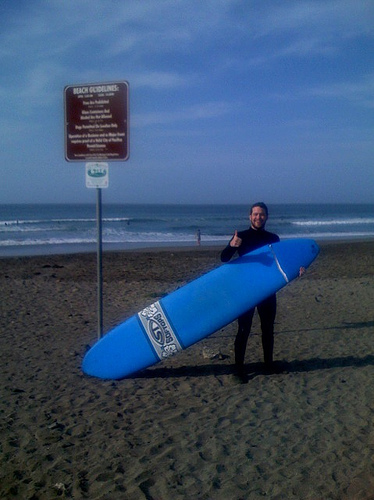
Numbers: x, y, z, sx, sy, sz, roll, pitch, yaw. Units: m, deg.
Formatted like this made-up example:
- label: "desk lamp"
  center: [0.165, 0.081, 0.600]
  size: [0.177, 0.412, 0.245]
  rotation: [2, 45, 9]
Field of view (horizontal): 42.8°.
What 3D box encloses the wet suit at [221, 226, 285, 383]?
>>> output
- label: "wet suit"
  center: [0.561, 0.446, 4.087]
  size: [0.502, 1.306, 0.630]
  rotation: [0, 6, 11]
